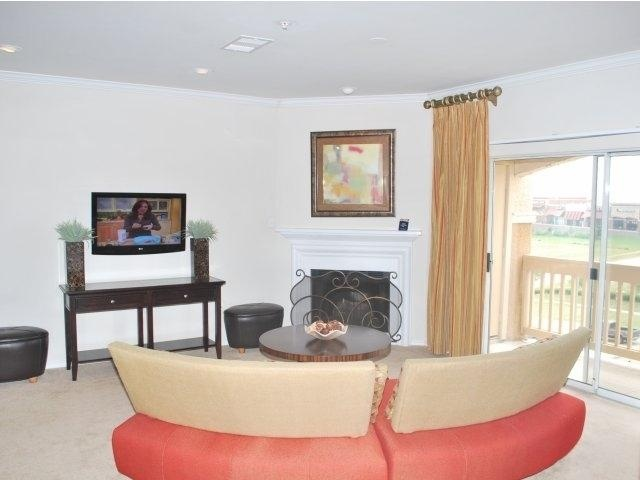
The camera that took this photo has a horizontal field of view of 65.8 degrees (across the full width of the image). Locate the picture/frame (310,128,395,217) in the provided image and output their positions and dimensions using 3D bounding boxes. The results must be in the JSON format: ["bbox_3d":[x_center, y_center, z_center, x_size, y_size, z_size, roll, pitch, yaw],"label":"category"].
[{"bbox_3d":[0.457,-0.889,6.327,1.164,1.167,0.088,0,5,12],"label":"picture/frame"}]

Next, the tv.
[{"bbox_3d":[-2.196,-0.204,5.809,0.771,0.540,0.057,-2,6,-21],"label":"tv"}]

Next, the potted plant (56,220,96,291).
[{"bbox_3d":[-2.678,0.147,5.401,0.373,0.754,0.491,0,1,-31],"label":"potted plant"}]

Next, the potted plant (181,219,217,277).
[{"bbox_3d":[-1.446,0.112,6.003,0.372,0.737,0.472,0,1,-12],"label":"potted plant"}]

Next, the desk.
[{"bbox_3d":[-1.913,0.891,5.091,1.001,0.599,0.348,-3,8,-30],"label":"desk"}]

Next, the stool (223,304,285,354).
[{"bbox_3d":[-0.830,1.097,6.231,0.805,0.560,0.643,-5,7,-36],"label":"stool"}]
